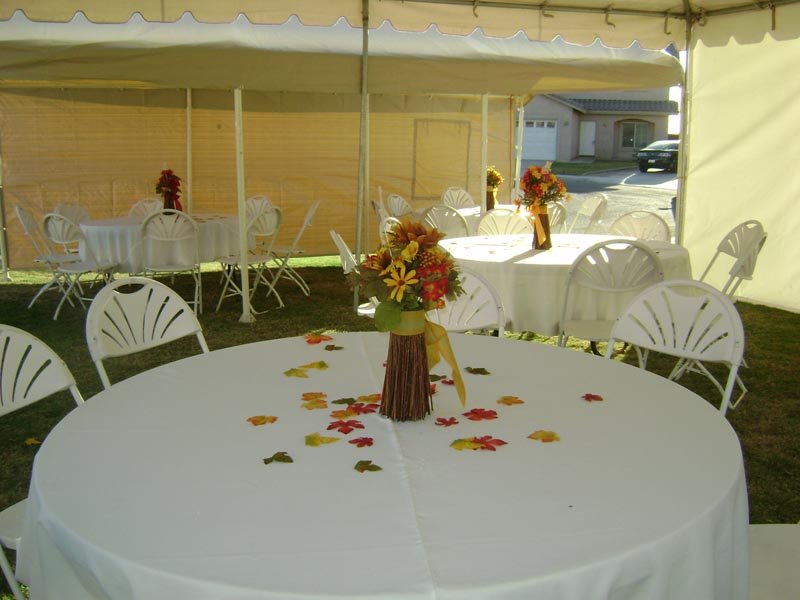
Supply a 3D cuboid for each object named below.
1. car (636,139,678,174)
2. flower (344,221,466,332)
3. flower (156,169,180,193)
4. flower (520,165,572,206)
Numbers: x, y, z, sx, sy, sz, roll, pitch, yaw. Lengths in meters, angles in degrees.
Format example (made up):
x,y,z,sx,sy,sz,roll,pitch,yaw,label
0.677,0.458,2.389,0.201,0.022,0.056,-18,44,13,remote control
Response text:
x,y,z,sx,sy,sz,roll,pitch,yaw,label
10.088,-5.571,23.634,1.403,1.169,1.831,5,15,21,car
0.017,-0.083,1.859,0.351,0.343,0.195,-2,14,-6,flower
-2.762,-1.410,7.184,0.236,0.251,0.307,-5,14,-16,flower
1.206,-0.976,5.092,0.344,0.364,0.340,2,0,0,flower
